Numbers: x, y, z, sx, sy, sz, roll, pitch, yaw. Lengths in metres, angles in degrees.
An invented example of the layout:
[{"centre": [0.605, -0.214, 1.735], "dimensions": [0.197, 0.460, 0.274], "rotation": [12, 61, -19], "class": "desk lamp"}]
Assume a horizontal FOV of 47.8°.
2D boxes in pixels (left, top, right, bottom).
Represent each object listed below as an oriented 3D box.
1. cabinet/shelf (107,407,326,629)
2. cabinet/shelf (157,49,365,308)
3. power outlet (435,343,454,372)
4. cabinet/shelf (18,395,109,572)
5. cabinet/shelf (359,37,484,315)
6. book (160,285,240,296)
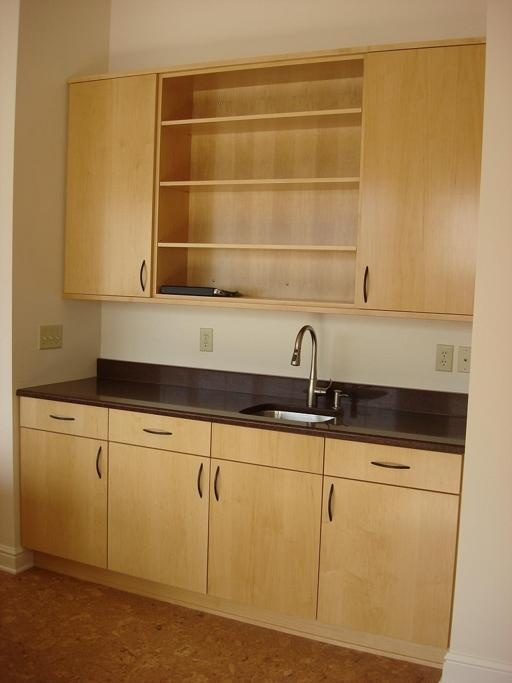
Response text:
[{"centre": [-0.147, 0.574, 2.396], "dimensions": [0.788, 0.736, 0.494], "rotation": [5, 15, 8], "class": "cabinet/shelf"}, {"centre": [0.043, -0.722, 2.525], "dimensions": [0.929, 1.288, 0.320], "rotation": [2, 4, 29], "class": "cabinet/shelf"}, {"centre": [0.767, 0.065, 2.334], "dimensions": [0.083, 0.173, 0.024], "rotation": [4, 3, 37], "class": "power outlet"}, {"centre": [-0.802, 0.486, 2.653], "dimensions": [0.408, 0.743, 0.442], "rotation": [8, 22, 2], "class": "cabinet/shelf"}, {"centre": [0.622, -0.583, 2.220], "dimensions": [0.413, 1.084, 0.317], "rotation": [1, -8, 25], "class": "cabinet/shelf"}, {"centre": [-0.255, -0.220, 2.535], "dimensions": [0.373, 0.053, 0.127], "rotation": [2, 2, 15], "class": "book"}]
